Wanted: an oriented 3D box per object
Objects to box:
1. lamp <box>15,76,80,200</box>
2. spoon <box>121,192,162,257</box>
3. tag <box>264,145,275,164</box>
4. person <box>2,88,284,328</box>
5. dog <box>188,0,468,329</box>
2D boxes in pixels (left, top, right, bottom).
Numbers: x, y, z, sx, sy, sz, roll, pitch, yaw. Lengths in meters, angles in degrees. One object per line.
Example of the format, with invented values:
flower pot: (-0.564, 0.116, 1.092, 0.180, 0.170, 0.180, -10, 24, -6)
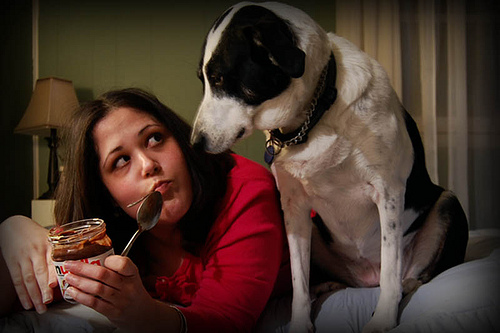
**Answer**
lamp: (-1.685, -0.224, 3.885, 0.574, 1.075, 0.413, 5, 7, 35)
spoon: (-0.504, 0.259, 2.124, 0.088, 0.247, 0.363, 2, 6, 11)
tag: (0.091, -0.053, 2.199, 0.017, 0.078, 0.051, -3, 17, -43)
person: (-0.407, 0.266, 2.559, 1.099, 0.708, 1.384, -35, -8, 14)
dog: (0.229, 0.155, 2.803, 1.147, 1.896, 1.737, -14, -17, 39)
